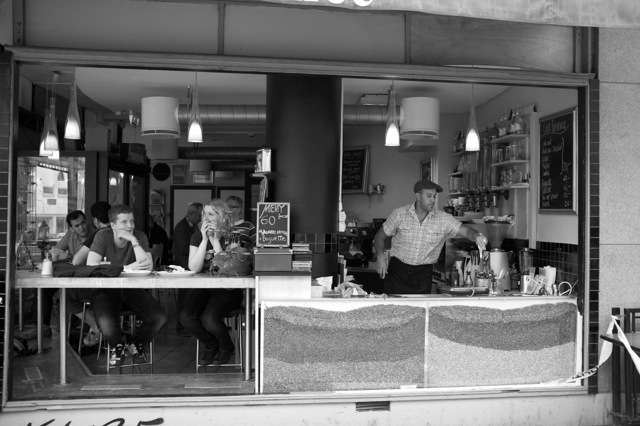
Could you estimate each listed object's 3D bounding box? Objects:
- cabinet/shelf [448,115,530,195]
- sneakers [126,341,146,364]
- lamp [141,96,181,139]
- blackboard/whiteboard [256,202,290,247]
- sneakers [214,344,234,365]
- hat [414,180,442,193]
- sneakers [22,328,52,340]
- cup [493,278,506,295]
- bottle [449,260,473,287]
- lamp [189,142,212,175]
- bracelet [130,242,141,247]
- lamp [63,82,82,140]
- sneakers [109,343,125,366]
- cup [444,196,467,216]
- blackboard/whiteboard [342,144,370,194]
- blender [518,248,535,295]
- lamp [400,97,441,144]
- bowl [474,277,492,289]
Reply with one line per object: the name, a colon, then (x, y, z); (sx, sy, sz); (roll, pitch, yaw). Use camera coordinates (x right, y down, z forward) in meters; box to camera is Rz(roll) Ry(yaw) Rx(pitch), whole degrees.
cabinet/shelf: (2.513, -0.745, 10.340); (0.318, 0.990, 1.963); (0, -2, -7)
sneakers: (-2.002, 1.525, 7.772); (0.116, 0.146, 0.332); (0, 1, -12)
lamp: (-2.088, -1.232, 9.395); (0.501, 0.514, 0.497); (0, -1, -9)
blackboard/whiteboard: (-0.489, 0.129, 7.412); (0.424, 0.571, 0.041); (0, -11, -2)
sneakers: (-1.088, 1.639, 8.203); (0.158, 0.130, 0.316); (-2, 9, 17)
hat: (1.235, -0.308, 8.203); (0.219, 0.093, 0.214); (1, -1, -2)
sneakers: (-3.599, 1.546, 9.110); (0.365, 0.126, 0.276); (0, -1, -12)
cup: (1.884, 0.773, 7.530); (0.114, 0.170, 0.231); (-3, -2, 11)
bottle: (1.476, 0.671, 7.766); (0.336, 0.369, 0.217); (2, -3, 9)
lamp: (-2.560, -1.116, 14.910); (0.510, 0.620, 0.527); (1, 2, -1)
bracelet: (-2.017, 0.345, 7.799); (0.069, 0.048, 0.064); (-1, -3, -19)
lamp: (-2.898, -1.179, 8.378); (0.170, 0.615, 0.180); (2, 2, 2)
sneakers: (-2.165, 1.526, 7.639); (0.140, 0.244, 0.238); (1, -12, -2)
cup: (2.090, -0.098, 11.072); (0.139, 0.192, 0.470); (0, -4, -3)
blackboard/whiteboard: (0.631, -0.733, 12.294); (0.774, 0.898, 0.065); (-4, -8, 43)
blender: (2.299, 0.663, 7.847); (0.118, 0.483, 0.140); (12, -4, -7)
lamp: (1.315, -1.207, 9.327); (0.522, 0.519, 0.507); (0, -1, 8)
bowl: (1.728, 0.742, 7.588); (0.115, 0.087, 0.119); (1, -4, 0)
